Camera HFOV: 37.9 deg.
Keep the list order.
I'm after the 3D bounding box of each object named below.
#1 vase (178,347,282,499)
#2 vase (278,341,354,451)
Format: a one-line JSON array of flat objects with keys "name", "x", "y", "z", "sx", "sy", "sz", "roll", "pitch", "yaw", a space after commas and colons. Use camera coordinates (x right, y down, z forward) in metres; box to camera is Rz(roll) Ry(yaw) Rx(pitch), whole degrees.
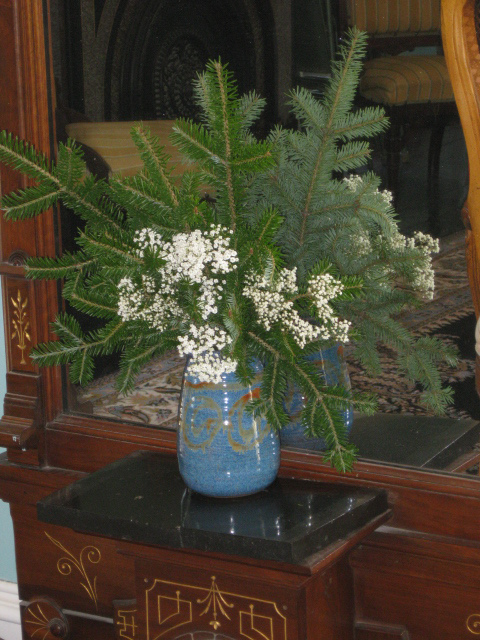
[{"name": "vase", "x": -0.025, "y": 0.146, "z": 1.032, "sx": 0.171, "sy": 0.217, "sz": 0.151, "roll": 1, "pitch": 3, "yaw": 15}, {"name": "vase", "x": 0.130, "y": 0.129, "z": 1.137, "sx": 0.121, "sy": 0.194, "sz": 0.148, "roll": 5, "pitch": 4, "yaw": 4}]
